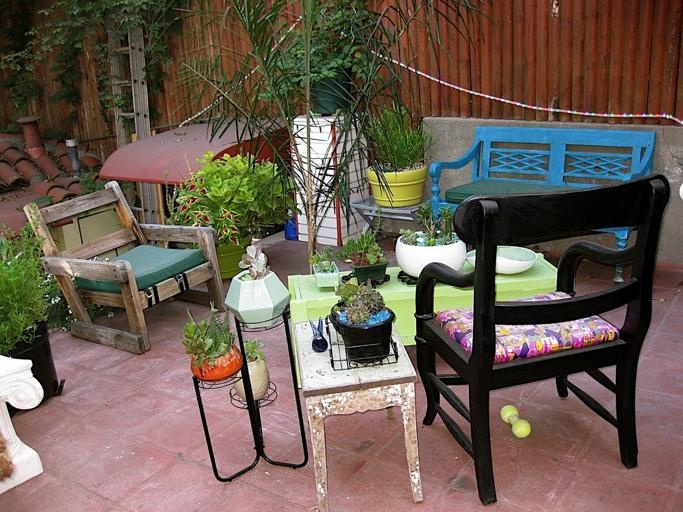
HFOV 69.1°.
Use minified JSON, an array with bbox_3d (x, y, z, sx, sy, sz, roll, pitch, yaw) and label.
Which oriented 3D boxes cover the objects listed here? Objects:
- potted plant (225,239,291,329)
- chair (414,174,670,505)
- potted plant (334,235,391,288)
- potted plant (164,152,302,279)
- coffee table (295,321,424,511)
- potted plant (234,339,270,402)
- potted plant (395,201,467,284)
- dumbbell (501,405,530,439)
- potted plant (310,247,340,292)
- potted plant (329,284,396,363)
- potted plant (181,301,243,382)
[{"bbox_3d":[-0.389,0.149,2.294,0.203,0.410,0.258,19,33,42],"label":"potted plant"},{"bbox_3d":[0.872,0.322,2.244,0.917,1.385,0.629,-10,24,-11],"label":"chair"},{"bbox_3d":[0.124,-0.008,3.195,0.293,0.415,0.333,-2,11,-11],"label":"potted plant"},{"bbox_3d":[-1.191,-0.390,4.842,1.013,1.233,1.178,-6,-4,38],"label":"potted plant"},{"bbox_3d":[0.092,0.721,2.447,0.637,0.764,0.878,-9,22,-4],"label":"coffee table"},{"bbox_3d":[-0.456,0.589,2.487,0.155,0.229,0.162,2,9,13],"label":"potted plant"},{"bbox_3d":[0.569,-0.088,3.101,0.447,0.446,0.423,-1,11,-3],"label":"potted plant"},{"bbox_3d":[0.918,0.871,2.622,0.099,0.098,0.195,-21,36,-13],"label":"dumbbell"},{"bbox_3d":[-0.097,0.072,3.090,0.136,0.234,0.245,-2,19,-7],"label":"potted plant"},{"bbox_3d":[0.096,0.299,2.236,0.271,0.326,0.315,-3,12,-1],"label":"potted plant"},{"bbox_3d":[-0.589,0.424,2.317,0.249,0.335,0.255,-11,14,-20],"label":"potted plant"}]
